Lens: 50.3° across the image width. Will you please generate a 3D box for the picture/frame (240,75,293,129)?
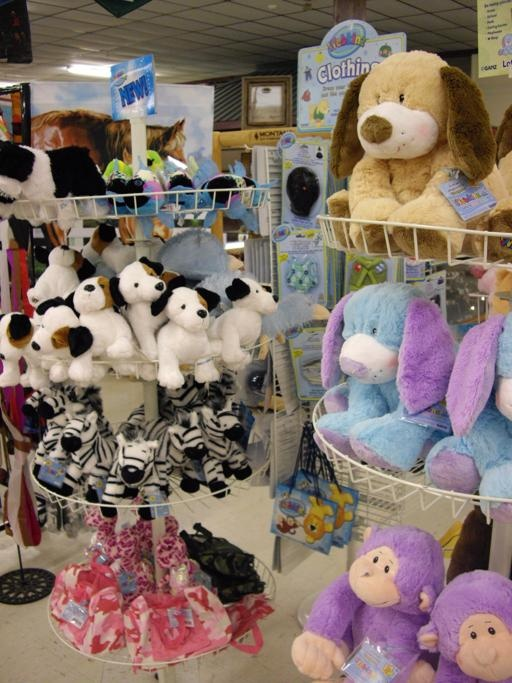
[{"bbox_3d":[0.067,-1.509,3.426,0.312,0.372,0.274,-2,9,2],"label":"picture/frame"}]
